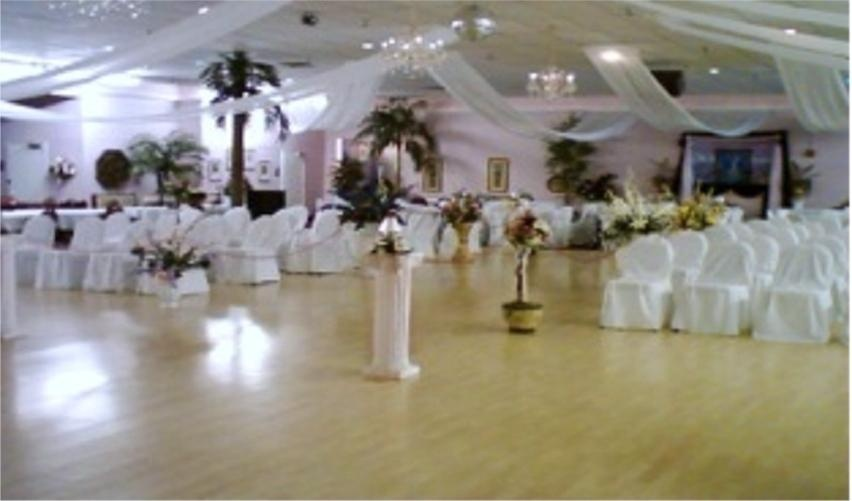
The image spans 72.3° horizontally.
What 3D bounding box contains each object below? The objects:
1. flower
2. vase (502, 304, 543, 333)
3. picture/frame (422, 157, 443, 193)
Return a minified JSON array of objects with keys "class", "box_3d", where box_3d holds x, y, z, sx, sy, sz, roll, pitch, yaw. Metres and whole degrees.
[{"class":"flower","box_3d":[3.073,-0.552,7.585,1.303,0.616,0.926,-8,6,12]},{"class":"vase","box_3d":[1.177,0.812,7.175,0.551,0.304,0.523,1,4,2]},{"class":"picture/frame","box_3d":[0.033,-0.936,7.326,0.366,0.460,0.354,1,5,14]}]
